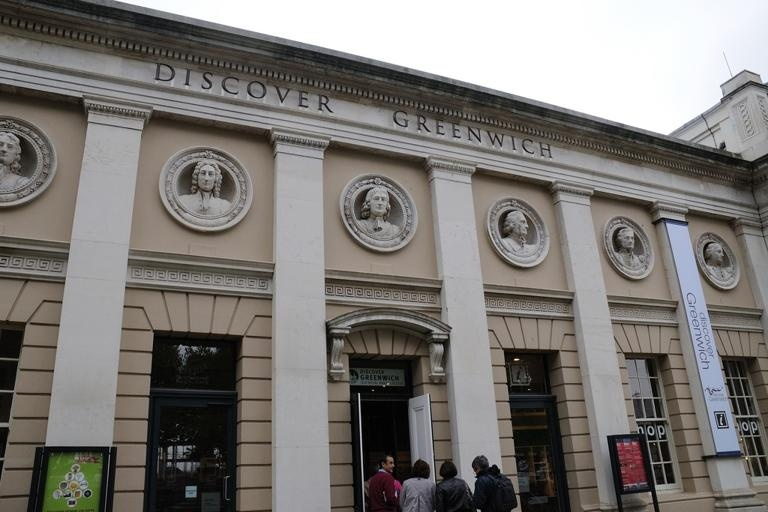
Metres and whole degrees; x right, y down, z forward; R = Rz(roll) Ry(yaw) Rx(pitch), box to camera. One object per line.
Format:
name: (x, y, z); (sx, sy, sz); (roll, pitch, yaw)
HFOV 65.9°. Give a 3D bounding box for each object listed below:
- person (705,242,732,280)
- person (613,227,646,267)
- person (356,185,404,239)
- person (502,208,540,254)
person: (11.473, 0.164, 20.393); (1.056, 1.324, 0.409); (11, -27, -26)
person: (7.921, -0.271, 19.158); (1.122, 1.327, 0.489); (15, -29, -32)
person: (-0.160, -1.184, 16.351); (1.177, 1.255, 0.561); (9, -31, -21)
person: (4.001, -0.669, 17.750); (1.124, 1.405, 0.550); (15, -29, -32)
